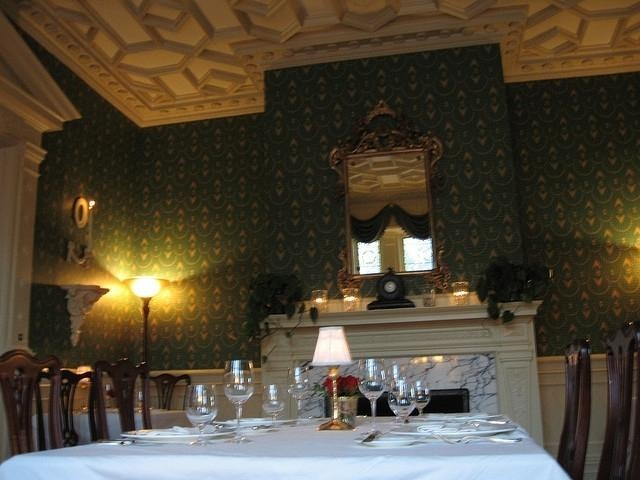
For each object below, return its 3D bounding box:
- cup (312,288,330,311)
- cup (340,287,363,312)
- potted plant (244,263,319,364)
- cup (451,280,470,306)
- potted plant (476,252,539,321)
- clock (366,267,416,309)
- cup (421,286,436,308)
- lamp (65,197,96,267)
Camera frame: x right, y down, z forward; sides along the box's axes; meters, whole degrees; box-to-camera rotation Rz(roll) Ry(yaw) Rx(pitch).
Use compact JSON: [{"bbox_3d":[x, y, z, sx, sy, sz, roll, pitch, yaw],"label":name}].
[{"bbox_3d":[0.022,0.605,6.789,0.167,0.215,0.178,1,-4,0],"label":"cup"},{"bbox_3d":[0.309,0.588,6.806,0.182,0.241,0.143,-4,-10,4],"label":"cup"},{"bbox_3d":[-0.451,0.728,6.617,0.599,0.757,0.337,1,1,-2],"label":"potted plant"},{"bbox_3d":[1.379,0.516,6.576,0.181,0.197,0.190,1,-14,0],"label":"cup"},{"bbox_3d":[1.820,0.411,6.383,0.523,0.484,0.544,-24,5,24],"label":"potted plant"},{"bbox_3d":[0.695,0.514,6.586,0.364,0.355,0.346,-2,-20,6],"label":"clock"},{"bbox_3d":[1.059,0.551,6.547,0.149,0.208,0.144,2,-17,1],"label":"cup"},{"bbox_3d":[-2.473,-0.123,7.036,0.142,0.745,0.408,-4,-10,9],"label":"lamp"}]
